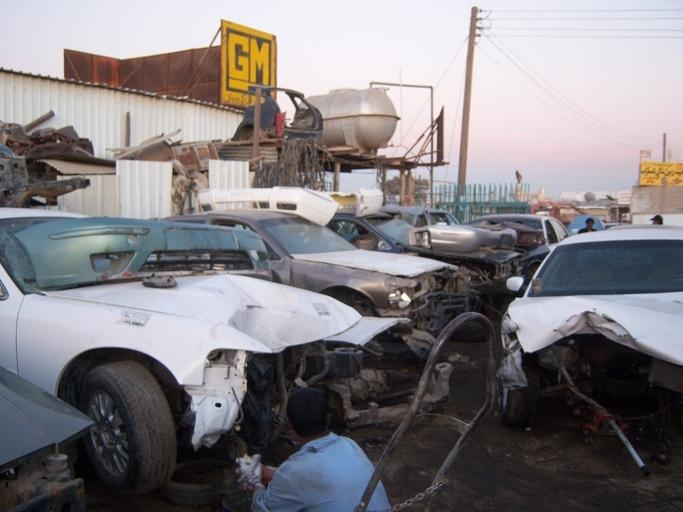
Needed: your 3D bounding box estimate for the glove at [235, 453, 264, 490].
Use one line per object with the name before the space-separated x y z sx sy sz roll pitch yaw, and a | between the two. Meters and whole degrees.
glove | -0.625 1.488 4.627 0.158 0.208 0.178 -17 1 -42
